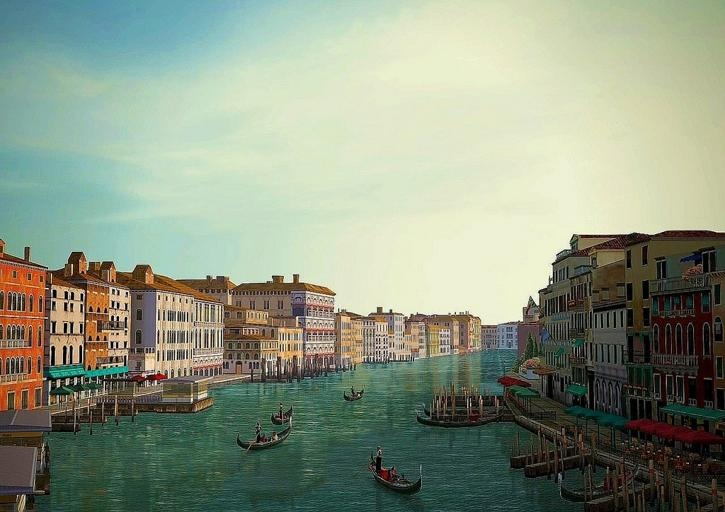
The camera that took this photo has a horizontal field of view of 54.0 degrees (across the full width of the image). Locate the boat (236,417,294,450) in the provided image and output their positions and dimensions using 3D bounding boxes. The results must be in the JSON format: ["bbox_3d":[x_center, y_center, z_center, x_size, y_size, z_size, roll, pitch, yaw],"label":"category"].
[{"bbox_3d":[-11.642,21.081,83.433,3.066,2.798,7.934,-7,-12,25],"label":"boat"}]

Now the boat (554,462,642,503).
[{"bbox_3d":[21.159,19.474,60.367,10.653,3.796,2.487,2,-10,-36],"label":"boat"}]
